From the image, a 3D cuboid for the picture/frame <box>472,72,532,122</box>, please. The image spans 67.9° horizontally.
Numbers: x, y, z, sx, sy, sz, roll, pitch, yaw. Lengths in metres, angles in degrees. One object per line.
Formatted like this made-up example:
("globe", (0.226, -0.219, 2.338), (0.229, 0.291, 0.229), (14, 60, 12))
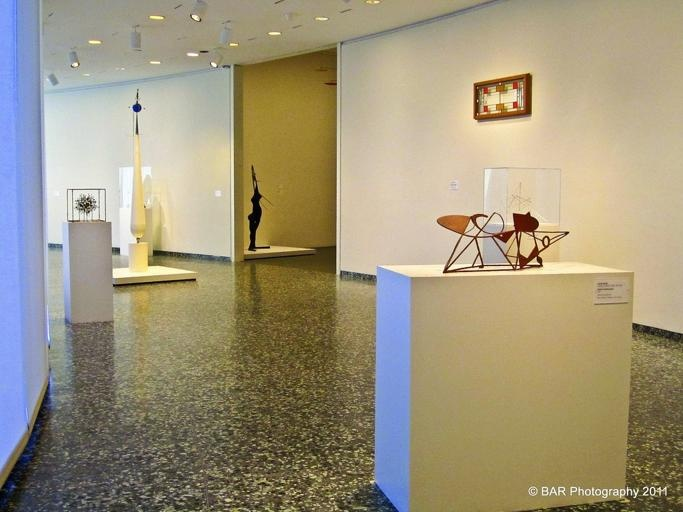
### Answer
("picture/frame", (2.097, -2.069, 6.564), (0.126, 0.513, 0.774), (-2, 3, -35))
